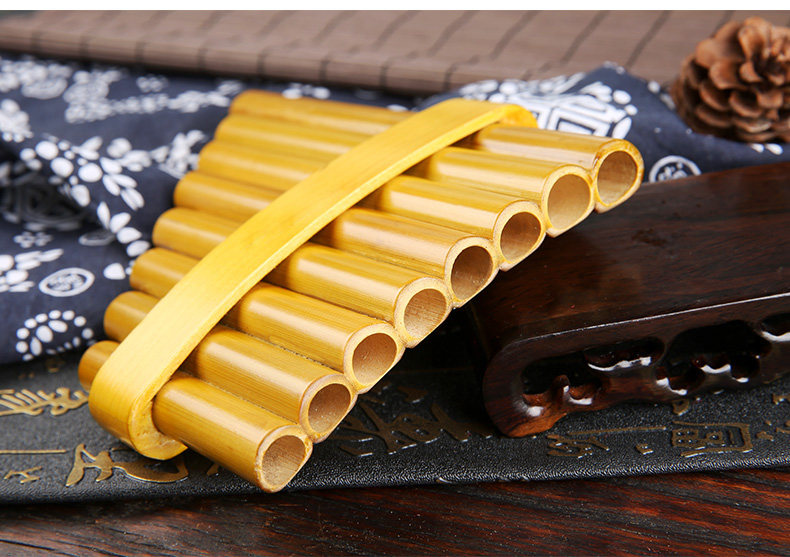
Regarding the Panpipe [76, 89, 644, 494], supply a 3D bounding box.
[{"bbox_3d":[-0.157,-0.065,1.398,0.851,0.212,0.640,-40,57,-19],"label":"Panpipe"}]
